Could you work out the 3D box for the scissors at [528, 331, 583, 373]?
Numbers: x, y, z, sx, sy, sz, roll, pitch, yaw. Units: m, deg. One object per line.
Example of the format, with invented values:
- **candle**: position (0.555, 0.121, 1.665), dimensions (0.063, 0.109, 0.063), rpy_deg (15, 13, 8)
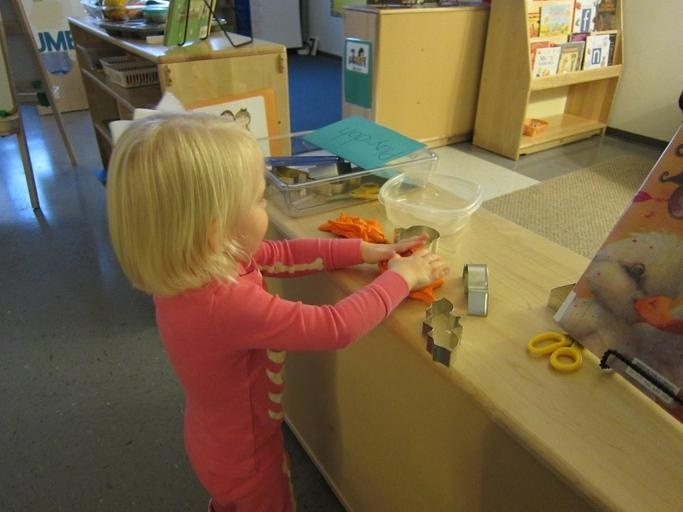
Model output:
- **scissors**: position (0.344, 0.153, 0.768), dimensions (0.083, 0.026, 0.064), rpy_deg (23, 37, 32)
